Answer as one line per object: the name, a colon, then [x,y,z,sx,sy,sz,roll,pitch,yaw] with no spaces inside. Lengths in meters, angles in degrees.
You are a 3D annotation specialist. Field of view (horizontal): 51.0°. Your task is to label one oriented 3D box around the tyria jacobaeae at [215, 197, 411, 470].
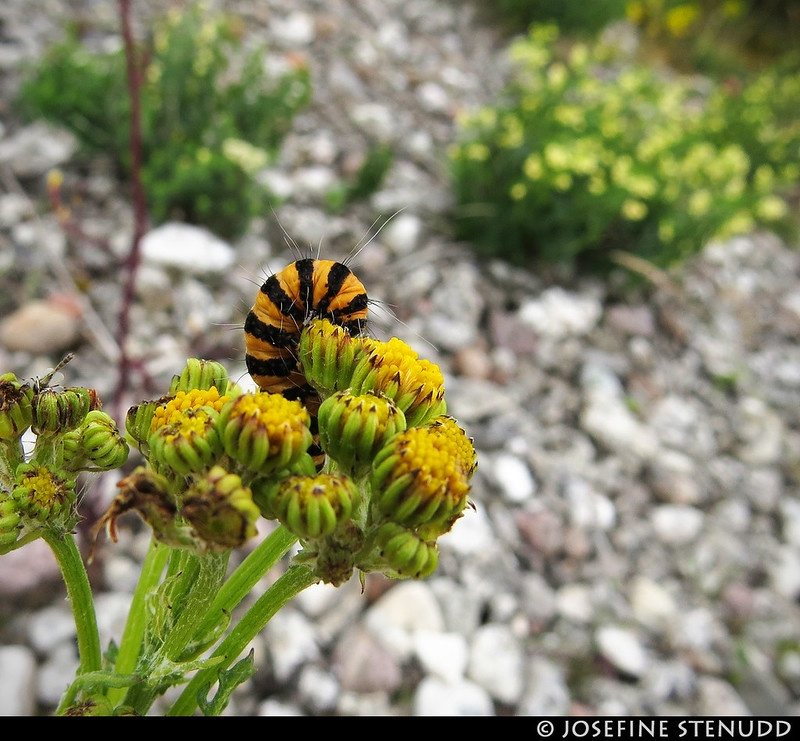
tyria jacobaeae: [-0.223,-0.069,1.859,0.171,0.570,0.180,22,28,-20]
